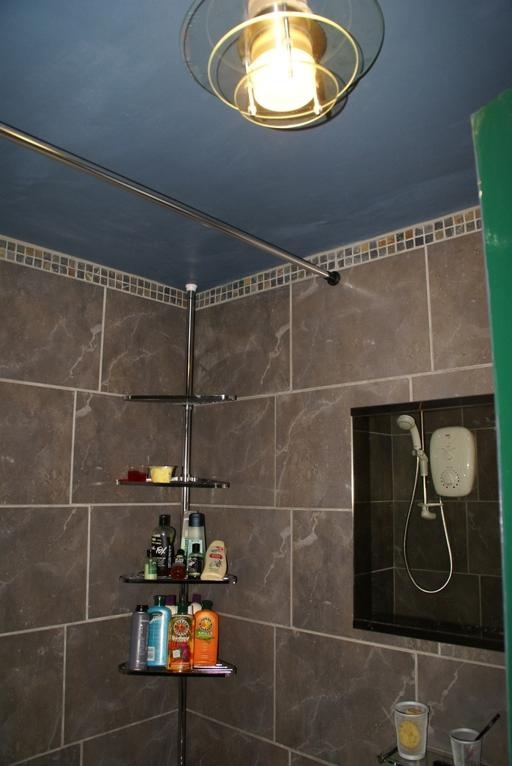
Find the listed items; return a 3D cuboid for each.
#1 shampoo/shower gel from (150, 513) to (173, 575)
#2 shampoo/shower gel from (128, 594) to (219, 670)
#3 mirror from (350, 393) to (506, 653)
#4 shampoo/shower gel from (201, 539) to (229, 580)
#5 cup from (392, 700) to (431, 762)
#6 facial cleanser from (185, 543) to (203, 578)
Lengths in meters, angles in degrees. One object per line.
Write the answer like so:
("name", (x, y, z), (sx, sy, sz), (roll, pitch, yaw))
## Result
("shampoo/shower gel", (-0.344, 0.592, 2.056), (0.082, 0.207, 0.151), (1, -9, -7))
("shampoo/shower gel", (-0.286, 0.868, 1.929), (0.173, 0.213, 0.083), (10, -28, -18))
("mirror", (0.492, 0.418, 1.582), (0.061, 0.947, 0.539), (7, -11, -42))
("shampoo/shower gel", (-0.152, 0.651, 2.065), (0.095, 0.127, 0.238), (0, -10, -4))
("cup", (0.388, 0.863, 1.417), (0.091, 0.191, 0.106), (-1, -17, 8))
("facial cleanser", (-0.219, 0.647, 2.034), (0.058, 0.173, 0.075), (-5, -31, 2))
